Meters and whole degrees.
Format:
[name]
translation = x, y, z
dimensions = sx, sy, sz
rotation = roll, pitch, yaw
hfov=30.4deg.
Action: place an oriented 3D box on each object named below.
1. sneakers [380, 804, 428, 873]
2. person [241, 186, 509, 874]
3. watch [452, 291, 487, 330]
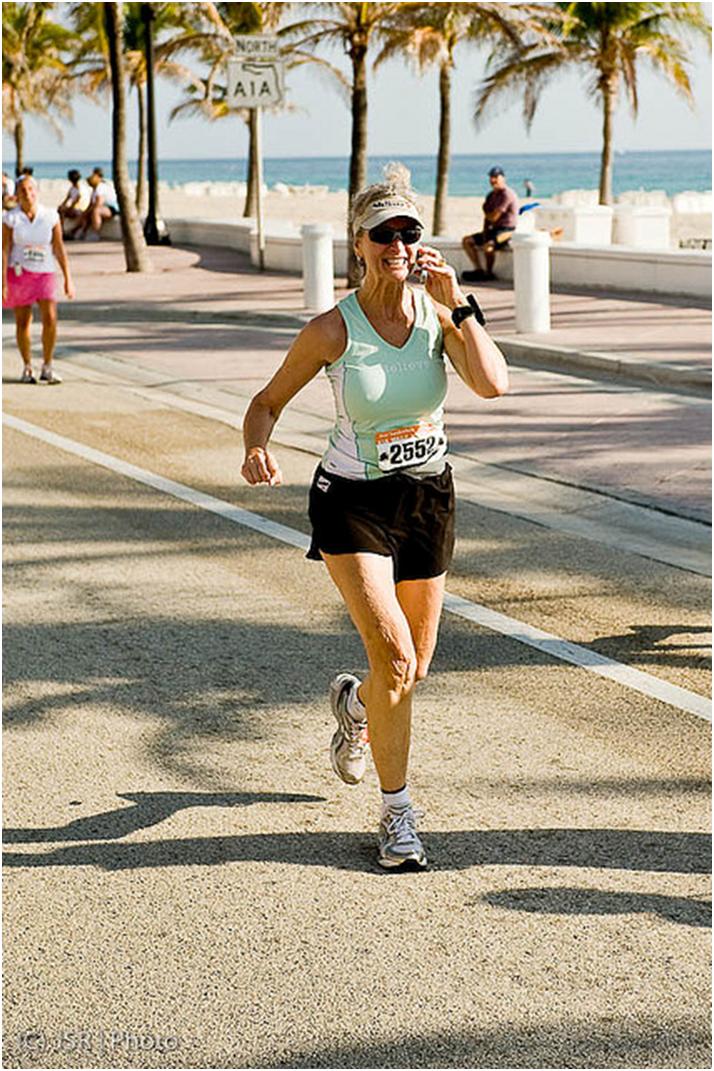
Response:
[sneakers]
translation = 0.116, 0.825, 3.615
dimensions = 0.132, 0.156, 0.144
rotation = -1, 15, 1
[person]
translation = 0.027, -0.067, 3.653
dimensions = 0.655, 1.877, 0.664
rotation = 3, 16, 14
[watch]
translation = 0.299, -0.635, 3.677
dimensions = 0.115, 0.037, 0.103
rotation = -19, 60, -21
